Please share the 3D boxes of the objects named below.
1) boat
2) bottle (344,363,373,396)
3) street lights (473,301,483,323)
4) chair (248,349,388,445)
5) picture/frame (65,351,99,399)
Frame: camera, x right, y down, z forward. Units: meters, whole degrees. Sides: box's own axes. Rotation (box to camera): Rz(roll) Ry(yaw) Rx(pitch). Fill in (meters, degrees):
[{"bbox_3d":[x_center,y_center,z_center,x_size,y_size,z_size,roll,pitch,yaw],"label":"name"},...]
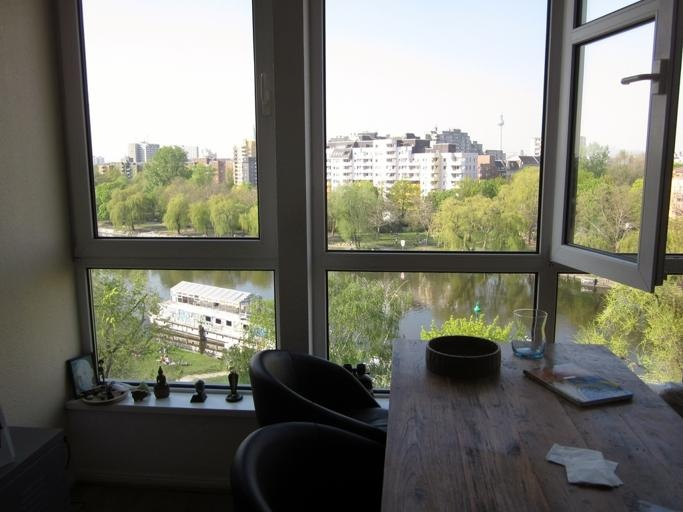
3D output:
[{"bbox_3d":[-0.685,0.316,3.506,0.903,0.477,0.297,6,20,15],"label":"boat"},{"bbox_3d":[0.096,0.674,3.125,0.157,0.173,0.128,3,-17,14],"label":"bottle"},{"bbox_3d":[0.769,0.315,3.209,0.053,0.105,0.015,2,12,15],"label":"street lights"},{"bbox_3d":[-0.091,0.616,2.629,0.431,0.562,0.433,-12,-8,18],"label":"chair"},{"bbox_3d":[-1.516,0.716,3.361,0.128,0.225,0.174,10,16,42],"label":"picture/frame"}]
